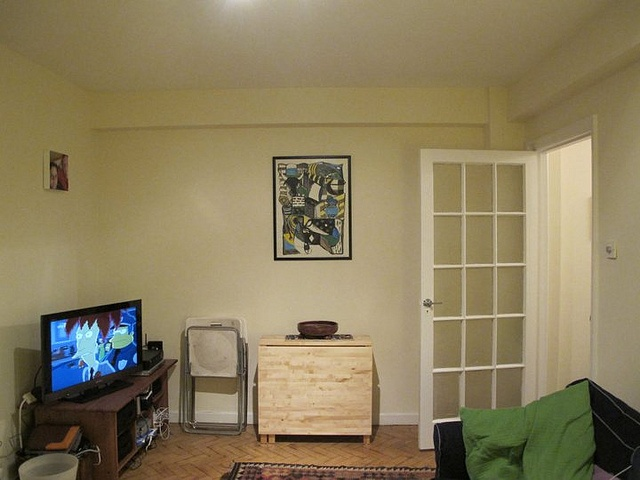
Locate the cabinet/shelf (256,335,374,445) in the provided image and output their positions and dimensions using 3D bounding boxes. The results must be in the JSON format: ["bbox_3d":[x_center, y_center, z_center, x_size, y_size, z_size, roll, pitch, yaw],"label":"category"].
[{"bbox_3d":[-0.064,1.399,5.214,1.097,0.921,0.655,2,-1,-13],"label":"cabinet/shelf"}]

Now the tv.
[{"bbox_3d":[-1.918,0.958,4.579,0.205,0.758,0.896,-4,-3,38],"label":"tv"}]
